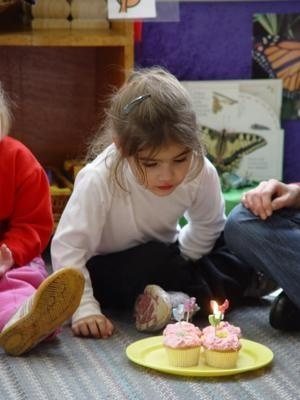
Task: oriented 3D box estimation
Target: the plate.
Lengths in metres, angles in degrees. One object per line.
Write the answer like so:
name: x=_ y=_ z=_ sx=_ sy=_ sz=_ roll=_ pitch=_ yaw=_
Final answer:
plate: x=0.090 y=0.288 z=0.699 sx=0.270 sy=0.027 sz=0.186 roll=0 pitch=-3 yaw=11
